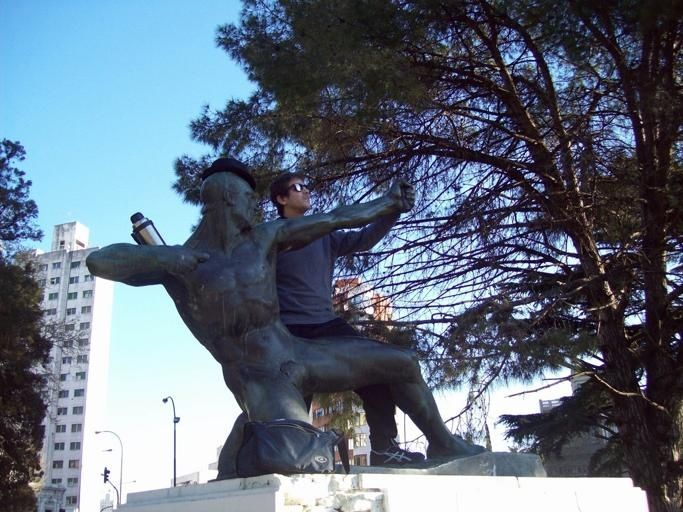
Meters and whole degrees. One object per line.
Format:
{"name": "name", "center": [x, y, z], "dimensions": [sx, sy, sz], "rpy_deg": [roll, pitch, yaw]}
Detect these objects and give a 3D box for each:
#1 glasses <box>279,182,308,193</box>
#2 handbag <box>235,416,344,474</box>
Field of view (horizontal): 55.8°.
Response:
{"name": "glasses", "center": [-0.347, -0.547, 5.110], "dimensions": [0.092, 0.031, 0.094], "rpy_deg": [3, -19, -43]}
{"name": "handbag", "center": [-0.334, 1.240, 4.173], "dimensions": [0.691, 0.346, 0.203], "rpy_deg": [-1, -21, -11]}
